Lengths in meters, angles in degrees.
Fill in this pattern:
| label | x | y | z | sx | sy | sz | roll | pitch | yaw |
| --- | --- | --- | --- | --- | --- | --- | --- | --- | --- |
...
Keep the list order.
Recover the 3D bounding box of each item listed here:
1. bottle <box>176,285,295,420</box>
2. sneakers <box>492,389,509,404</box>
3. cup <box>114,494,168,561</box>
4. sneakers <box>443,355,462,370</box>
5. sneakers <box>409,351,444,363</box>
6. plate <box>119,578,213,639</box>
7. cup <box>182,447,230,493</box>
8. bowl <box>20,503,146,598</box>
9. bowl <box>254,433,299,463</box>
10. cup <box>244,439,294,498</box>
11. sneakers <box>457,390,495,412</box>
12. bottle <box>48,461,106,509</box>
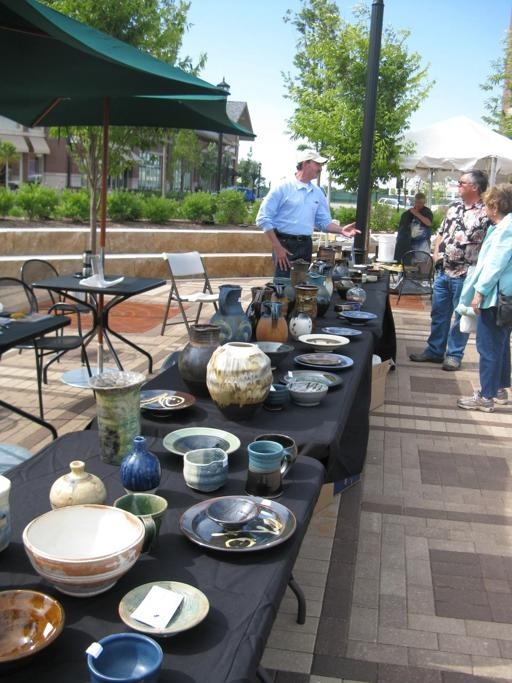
| label | x | y | z | sx | sy | sz | roll | pitch | yaw |
| --- | --- | --- | --- | --- | --- | --- | --- | --- | --- |
| bottle | -0.106 | 0.073 | 1.839 | 0.348 | 0.431 | 0.316 | 2 | 2 | 0 |
| sneakers | 2.166 | 0.488 | 4.706 | 0.102 | 0.111 | 0.253 | -1 | 2 | 14 |
| cup | -0.224 | 0.353 | 1.041 | 0.078 | 0.073 | 0.110 | -1 | 20 | -23 |
| sneakers | 2.027 | 0.245 | 5.542 | 0.098 | 0.096 | 0.233 | -3 | 2 | 26 |
| sneakers | 1.853 | 0.180 | 5.862 | 0.383 | 0.164 | 0.139 | 7 | 7 | 12 |
| plate | -0.142 | 0.410 | 0.826 | 0.135 | 0.030 | 0.139 | 1 | 14 | -14 |
| cup | -0.122 | 0.309 | 1.289 | 0.101 | 0.079 | 0.103 | -1 | 3 | 0 |
| bowl | -0.276 | 0.374 | 0.890 | 0.164 | 0.069 | 0.160 | -2 | -3 | 0 |
| bowl | 0.060 | 0.284 | 1.452 | 0.075 | 0.053 | 0.078 | 1 | 3 | 0 |
| cup | 0.048 | 0.308 | 1.299 | 0.084 | 0.114 | 0.126 | 3 | 6 | 20 |
| sneakers | 1.818 | 0.505 | 4.503 | 0.345 | 0.182 | 0.137 | 6 | 5 | 21 |
| bottle | -0.376 | 0.283 | 1.119 | 0.105 | 0.097 | 0.103 | 2 | 1 | 2 |
